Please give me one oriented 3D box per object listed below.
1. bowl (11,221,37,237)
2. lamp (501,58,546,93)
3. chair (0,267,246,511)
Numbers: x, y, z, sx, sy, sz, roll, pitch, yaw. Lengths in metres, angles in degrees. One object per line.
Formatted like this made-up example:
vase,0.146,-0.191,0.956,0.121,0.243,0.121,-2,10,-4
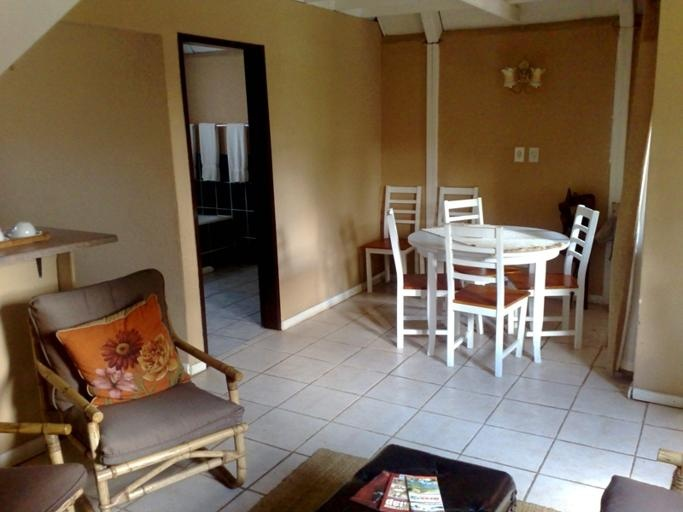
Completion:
bowl,-1.801,-0.144,3.052,0.105,0.070,0.108,0,8,0
lamp,1.761,-1.763,5.319,0.330,0.295,0.134,11,20,26
chair,-1.090,0.729,2.927,0.951,1.103,0.831,-14,18,-30
